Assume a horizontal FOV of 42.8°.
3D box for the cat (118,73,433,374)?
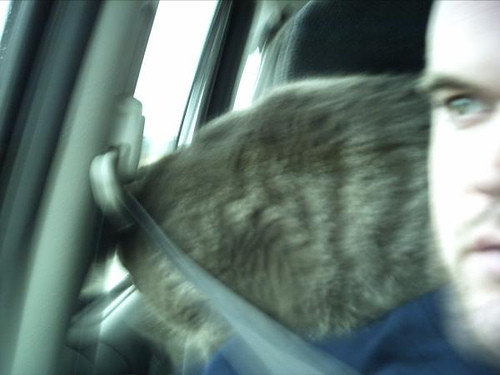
[{"bbox_3d":[0.081,0.010,1.224,0.576,0.488,0.268,14,20,18],"label":"cat"}]
